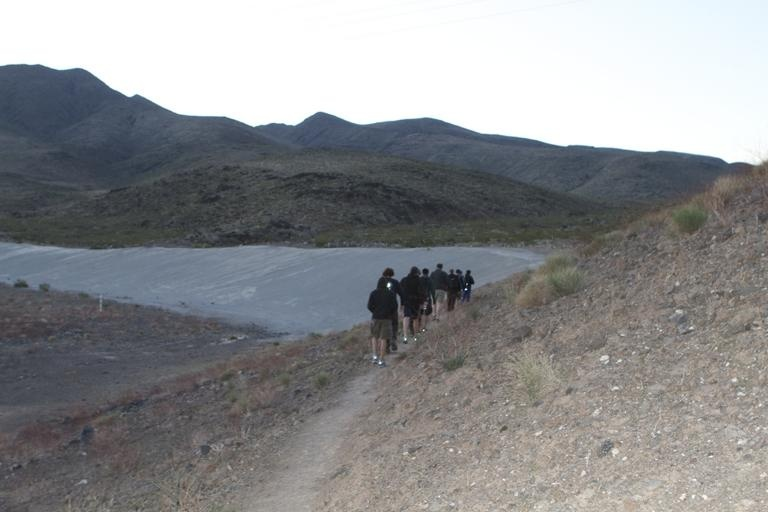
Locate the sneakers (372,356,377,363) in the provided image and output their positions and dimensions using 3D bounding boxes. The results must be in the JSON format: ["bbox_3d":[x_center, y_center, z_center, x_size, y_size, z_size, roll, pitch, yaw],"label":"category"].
[{"bbox_3d":[-0.266,3.018,18.387,0.128,0.213,0.205,0,-1,-26],"label":"sneakers"}]

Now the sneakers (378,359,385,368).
[{"bbox_3d":[-0.059,3.093,18.143,0.101,0.127,0.283,-3,-36,2],"label":"sneakers"}]
